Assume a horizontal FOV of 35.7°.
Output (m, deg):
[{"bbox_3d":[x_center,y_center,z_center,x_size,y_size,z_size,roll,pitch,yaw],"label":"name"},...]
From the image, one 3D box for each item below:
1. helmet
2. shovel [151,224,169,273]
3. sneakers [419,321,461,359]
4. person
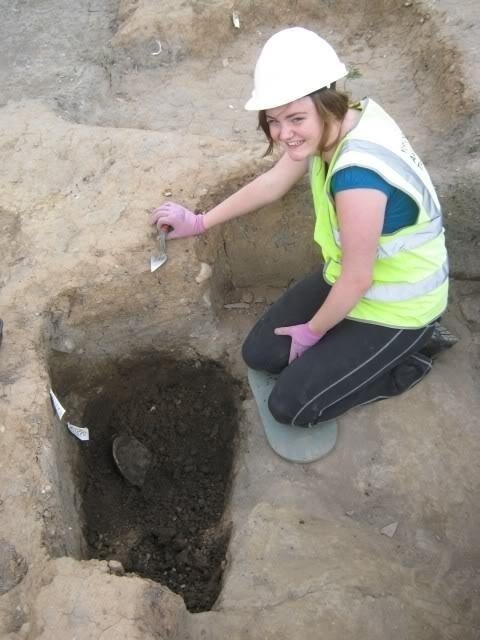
[{"bbox_3d":[0.168,-0.828,2.428,0.321,0.174,0.263,-36,45,-17],"label":"helmet"},{"bbox_3d":[-0.345,-0.305,3.183,0.066,0.025,0.204,10,84,0],"label":"shovel"},{"bbox_3d":[0.862,0.105,3.246,0.221,0.069,0.125,-30,56,-29],"label":"sneakers"},{"bbox_3d":[0.282,-0.302,3.078,1.322,1.491,0.841,-25,51,-1],"label":"person"}]
